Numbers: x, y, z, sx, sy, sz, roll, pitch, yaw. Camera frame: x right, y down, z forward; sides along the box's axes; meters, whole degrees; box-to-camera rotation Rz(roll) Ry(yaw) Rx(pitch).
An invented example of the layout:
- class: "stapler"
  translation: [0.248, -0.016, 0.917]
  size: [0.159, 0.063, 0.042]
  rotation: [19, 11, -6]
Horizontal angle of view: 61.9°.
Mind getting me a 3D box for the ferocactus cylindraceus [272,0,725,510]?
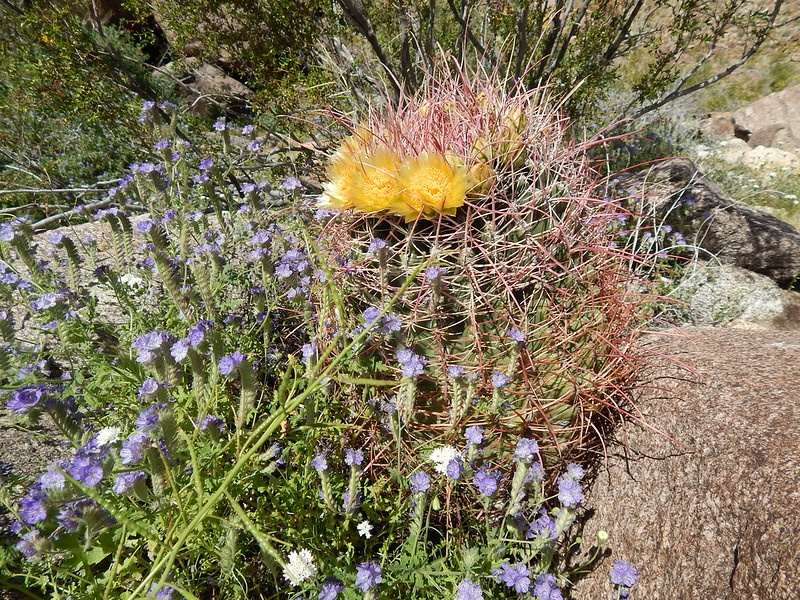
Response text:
- class: "ferocactus cylindraceus"
  translation: [0.412, -0.197, 3.632]
  size: [1.922, 1.906, 1.832]
  rotation: [-2, 5, 1]
